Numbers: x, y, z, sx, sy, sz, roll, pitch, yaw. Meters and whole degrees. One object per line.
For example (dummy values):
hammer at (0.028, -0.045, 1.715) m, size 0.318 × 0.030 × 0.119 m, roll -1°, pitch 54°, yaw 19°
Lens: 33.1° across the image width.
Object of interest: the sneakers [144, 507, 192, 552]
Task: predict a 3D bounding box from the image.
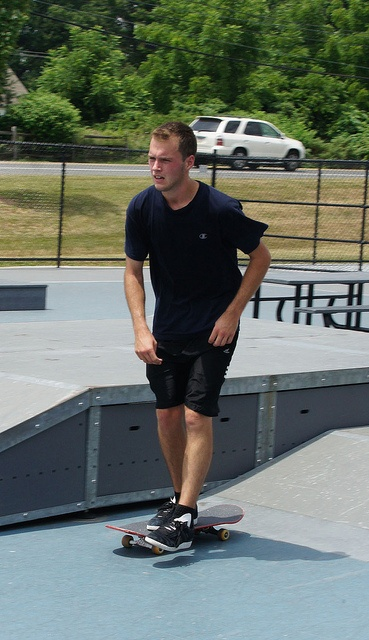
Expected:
sneakers at (-0.024, 0.745, 2.272) m, size 0.090 × 0.106 × 0.261 m, roll 23°, pitch 8°, yaw 27°

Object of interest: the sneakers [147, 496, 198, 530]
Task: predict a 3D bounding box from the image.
sneakers at (-0.054, 0.722, 2.388) m, size 0.077 × 0.090 × 0.243 m, roll -3°, pitch 2°, yaw 31°

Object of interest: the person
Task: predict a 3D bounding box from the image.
person at (0.026, 0.063, 2.321) m, size 0.560 × 1.551 × 0.354 m, roll 0°, pitch 0°, yaw 4°

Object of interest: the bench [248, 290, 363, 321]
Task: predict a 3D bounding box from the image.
bench at (1.470, -0.163, 6.956) m, size 0.578 × 0.189 × 0.862 m, roll -6°, pitch 9°, yaw -32°

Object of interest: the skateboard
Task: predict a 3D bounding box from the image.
skateboard at (-0.015, 0.799, 2.418) m, size 0.198 × 0.109 × 0.671 m, roll 11°, pitch 7°, yaw 37°
